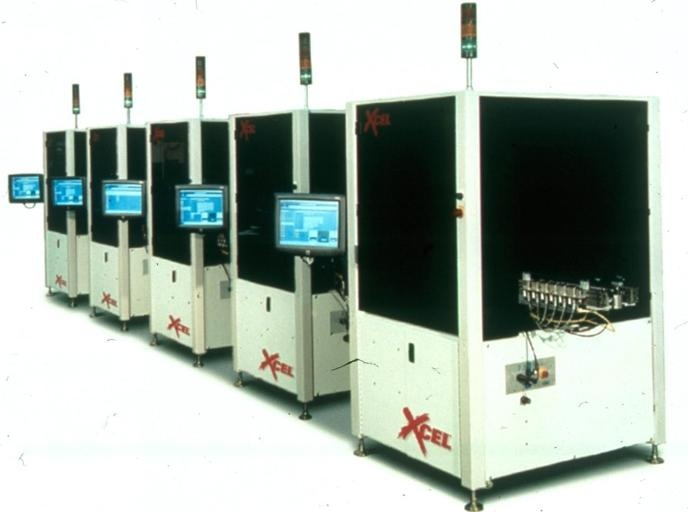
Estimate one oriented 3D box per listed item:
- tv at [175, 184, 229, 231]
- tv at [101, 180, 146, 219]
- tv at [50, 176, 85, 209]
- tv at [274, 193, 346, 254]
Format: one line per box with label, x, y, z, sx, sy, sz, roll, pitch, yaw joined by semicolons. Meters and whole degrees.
tv;-1.381;-0.563;8.416;0.618;0.580;0.415;2;6;15
tv;-2.542;-0.645;9.669;0.507;0.464;0.305;1;2;1
tv;-3.699;-0.858;10.992;0.631;0.403;0.177;7;13;35
tv;-0.275;-0.331;7.022;0.575;0.535;0.353;3;23;2
